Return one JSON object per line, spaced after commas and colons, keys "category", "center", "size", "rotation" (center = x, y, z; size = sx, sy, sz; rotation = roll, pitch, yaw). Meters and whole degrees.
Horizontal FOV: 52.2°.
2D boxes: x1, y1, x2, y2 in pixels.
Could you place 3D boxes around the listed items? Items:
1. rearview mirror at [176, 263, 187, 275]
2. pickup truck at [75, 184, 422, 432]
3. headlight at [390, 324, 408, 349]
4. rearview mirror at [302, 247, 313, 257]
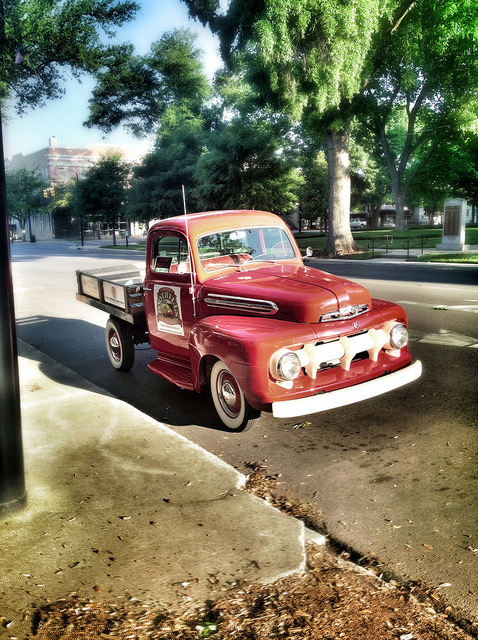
{"category": "rearview mirror", "center": [-0.639, -0.568, 5.388], "size": [0.109, 0.100, 0.025], "rotation": [3, 0, 25]}
{"category": "pickup truck", "center": [-0.033, -0.463, 6.148], "size": [2.164, 2.356, 4.610], "rotation": [-13, 19, -35]}
{"category": "headlight", "center": [1.602, 0.162, 4.883], "size": [0.223, 0.226, 0.058], "rotation": [6, -7, -36]}
{"category": "rearview mirror", "center": [0.896, -0.882, 6.342], "size": [0.120, 0.122, 0.091], "rotation": [12, 8, -3]}
